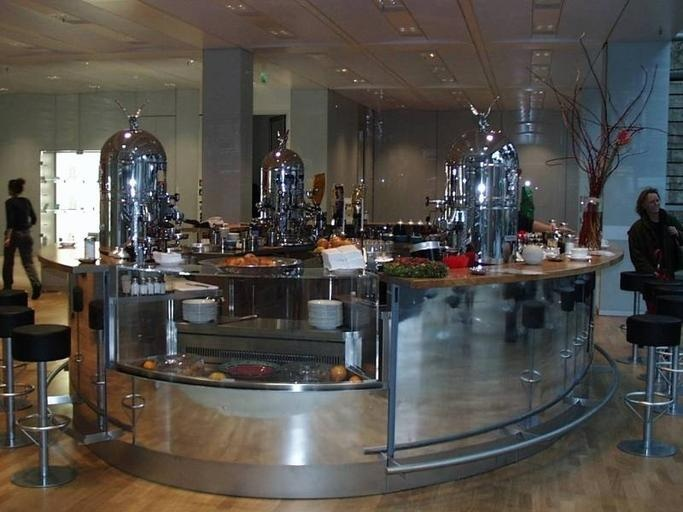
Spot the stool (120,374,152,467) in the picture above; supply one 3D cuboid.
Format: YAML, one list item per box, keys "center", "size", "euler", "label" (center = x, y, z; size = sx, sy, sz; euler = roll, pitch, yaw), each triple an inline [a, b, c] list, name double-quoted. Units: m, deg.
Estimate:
- center: [-1.395, 1.032, 3.775]
  size: [0.158, 0.453, 0.129]
  euler: [-10, -17, 8]
  label: "stool"

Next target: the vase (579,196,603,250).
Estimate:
- center: [2.415, -0.325, 5.498]
  size: [0.195, 0.488, 0.227]
  euler: [4, 9, 21]
  label: "vase"

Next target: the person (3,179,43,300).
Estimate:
- center: [-5.254, -0.282, 9.164]
  size: [0.547, 1.871, 0.792]
  euler: [-4, 10, -27]
  label: "person"

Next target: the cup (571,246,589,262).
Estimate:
- center: [1.948, -0.013, 4.595]
  size: [0.163, 0.086, 0.134]
  euler: [1, 8, 3]
  label: "cup"

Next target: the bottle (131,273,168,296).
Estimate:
- center: [-1.290, 0.193, 3.783]
  size: [0.264, 0.123, 0.155]
  euler: [2, -5, -4]
  label: "bottle"

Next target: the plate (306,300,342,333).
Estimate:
- center: [-0.106, 0.370, 3.502]
  size: [0.207, 0.137, 0.193]
  euler: [0, 1, -5]
  label: "plate"

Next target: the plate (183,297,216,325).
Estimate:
- center: [-0.913, 0.346, 3.669]
  size: [0.199, 0.110, 0.189]
  euler: [2, 6, 16]
  label: "plate"

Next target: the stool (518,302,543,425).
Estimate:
- center: [1.369, 0.815, 4.086]
  size: [0.235, 0.922, 0.215]
  euler: [2, 5, 26]
  label: "stool"

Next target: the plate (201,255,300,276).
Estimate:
- center: [-0.637, 0.057, 3.824]
  size: [0.708, 0.074, 0.481]
  euler: [0, 8, -3]
  label: "plate"

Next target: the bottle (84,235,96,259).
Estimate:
- center: [-1.872, -0.061, 4.171]
  size: [0.075, 0.143, 0.149]
  euler: [-4, 10, -28]
  label: "bottle"

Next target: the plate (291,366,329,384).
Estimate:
- center: [-0.199, 0.733, 3.506]
  size: [0.139, 0.043, 0.135]
  euler: [3, 2, 28]
  label: "plate"

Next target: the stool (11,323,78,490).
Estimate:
- center: [-2.020, 0.999, 3.807]
  size: [0.469, 0.961, 0.426]
  euler: [-7, -6, -18]
  label: "stool"
